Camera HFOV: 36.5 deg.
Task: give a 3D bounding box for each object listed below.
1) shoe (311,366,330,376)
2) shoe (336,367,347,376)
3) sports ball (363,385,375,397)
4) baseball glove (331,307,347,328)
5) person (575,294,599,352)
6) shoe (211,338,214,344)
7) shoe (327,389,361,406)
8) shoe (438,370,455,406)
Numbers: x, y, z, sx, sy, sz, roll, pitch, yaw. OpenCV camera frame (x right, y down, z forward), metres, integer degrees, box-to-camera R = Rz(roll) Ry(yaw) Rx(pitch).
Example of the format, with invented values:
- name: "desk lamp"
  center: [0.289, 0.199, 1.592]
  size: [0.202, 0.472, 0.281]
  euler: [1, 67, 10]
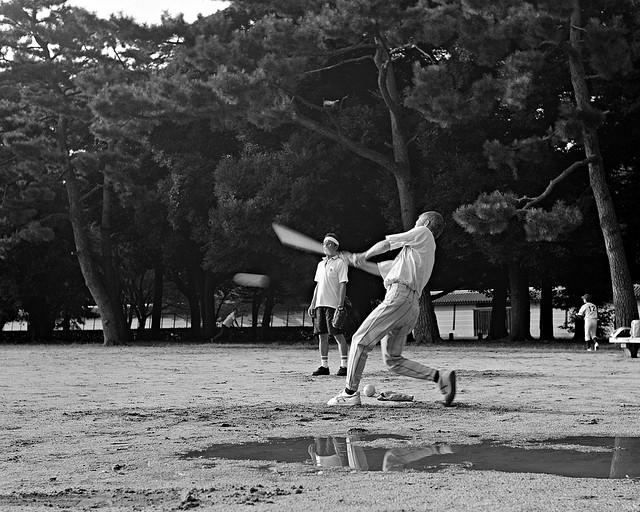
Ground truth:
- name: "shoe"
  center: [0.024, 2.001, 16.912]
  size: [0.359, 0.169, 0.126]
  euler: [3, -3, 1]
- name: "shoe"
  center: [0.363, 1.972, 16.630]
  size: [0.158, 0.133, 0.474]
  euler: [-1, -2, -2]
- name: "sports ball"
  center: [0.662, 1.819, 13.113]
  size: [0.122, 0.135, 0.129]
  euler: [8, -17, 3]
- name: "baseball glove"
  center: [0.329, 1.023, 16.082]
  size: [0.238, 0.343, 0.588]
  euler: [-1, -2, 0]
- name: "person"
  center: [7.764, 1.922, 28.016]
  size: [0.530, 1.583, 3.143]
  euler: [-2, -2, 16]
- name: "shoe"
  center: [-4.391, 3.468, 39.603]
  size: [0.047, 0.192, 0.190]
  euler: [-3, 13, 15]
- name: "shoe"
  center: [0.316, 1.822, 12.547]
  size: [0.411, 0.193, 0.186]
  euler: [3, -6, 11]
- name: "shoe"
  center: [1.641, 1.660, 12.416]
  size: [0.183, 0.482, 0.169]
  euler: [-1, 15, 6]
